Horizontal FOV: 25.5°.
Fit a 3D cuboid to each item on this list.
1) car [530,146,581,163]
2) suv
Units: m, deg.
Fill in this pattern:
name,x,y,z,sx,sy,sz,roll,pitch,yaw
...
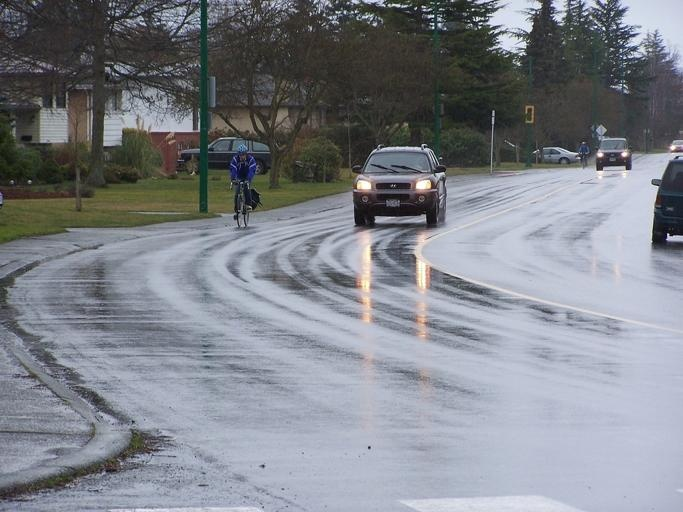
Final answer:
name,x,y,z,sx,sy,sz,roll,pitch,yaw
car,14.678,-6.667,102.272,2.819,1.037,1.366,2,6,28
suv,1.537,-1.796,39.881,2.375,2.108,2.535,2,10,4
